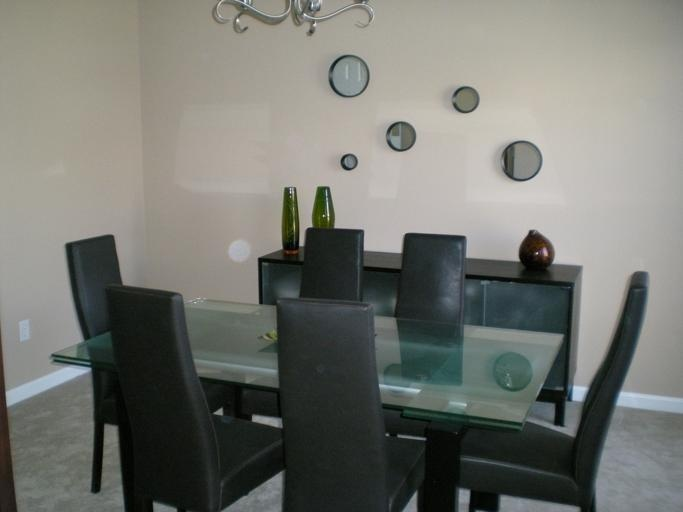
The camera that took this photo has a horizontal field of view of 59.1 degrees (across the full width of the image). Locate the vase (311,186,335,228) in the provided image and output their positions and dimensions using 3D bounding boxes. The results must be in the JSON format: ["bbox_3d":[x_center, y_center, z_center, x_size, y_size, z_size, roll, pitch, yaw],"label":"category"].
[{"bbox_3d":[-0.131,-0.360,4.355,0.155,0.285,0.298,2,8,-4],"label":"vase"}]
